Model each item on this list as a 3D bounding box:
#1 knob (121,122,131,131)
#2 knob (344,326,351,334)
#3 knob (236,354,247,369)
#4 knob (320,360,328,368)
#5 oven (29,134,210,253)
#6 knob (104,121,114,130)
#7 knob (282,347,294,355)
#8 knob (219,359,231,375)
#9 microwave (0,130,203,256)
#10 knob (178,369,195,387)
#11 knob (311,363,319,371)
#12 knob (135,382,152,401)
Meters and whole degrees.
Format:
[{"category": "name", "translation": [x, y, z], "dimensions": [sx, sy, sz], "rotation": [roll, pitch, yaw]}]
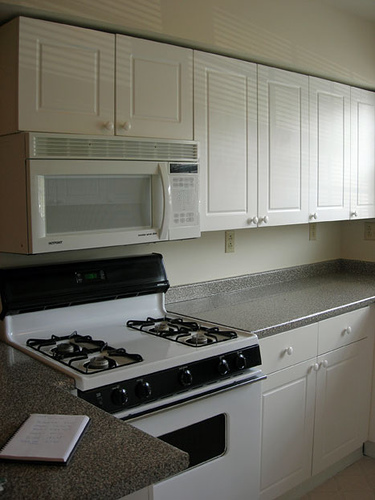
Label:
[{"category": "knob", "translation": [-0.234, -0.482, 1.481], "dimensions": [0.022, 0.033, 0.045], "rotation": [4, 10, 40]}, {"category": "knob", "translation": [0.853, 0.423, 2.024], "dimensions": [0.028, 0.034, 0.032], "rotation": [-3, -2, -40]}, {"category": "knob", "translation": [0.197, 0.407, 1.401], "dimensions": [0.035, 0.048, 0.019], "rotation": [6, -9, -33]}, {"category": "knob", "translation": [0.679, 0.565, 1.905], "dimensions": [0.040, 0.016, 0.058], "rotation": [-1, 6, 15]}, {"category": "oven", "translation": [-0.288, -0.245, 1.557], "dimensions": [0.704, 0.420, 0.268], "rotation": [-6, 17, -31]}, {"category": "knob", "translation": [-0.292, -0.468, 1.437], "dimensions": [0.043, 0.032, 0.023], "rotation": [-7, 9, -36]}, {"category": "knob", "translation": [0.453, 0.450, 1.721], "dimensions": [0.048, 0.030, 0.030], "rotation": [1, 7, 18]}, {"category": "knob", "translation": [0.135, 0.411, 1.347], "dimensions": [0.036, 0.050, 0.014], "rotation": [7, -6, -42]}, {"category": "microwave", "translation": [-0.300, -0.231, 1.516], "dimensions": [0.803, 0.418, 0.215], "rotation": [-7, 9, -34]}, {"category": "knob", "translation": [-0.003, 0.414, 1.243], "dimensions": [0.065, 0.054, 0.018], "rotation": [-8, 10, -41]}, {"category": "knob", "translation": [0.625, 0.568, 1.861], "dimensions": [0.033, 0.021, 0.023], "rotation": [5, 9, 41]}, {"category": "knob", "translation": [-0.132, 0.416, 1.128], "dimensions": [0.032, 0.062, 0.054], "rotation": [3, 9, 21]}]
